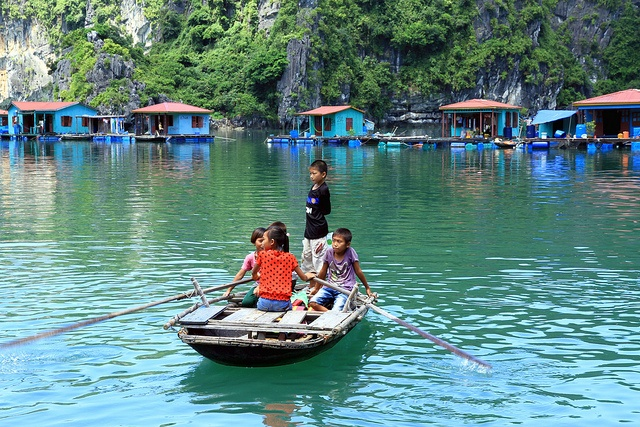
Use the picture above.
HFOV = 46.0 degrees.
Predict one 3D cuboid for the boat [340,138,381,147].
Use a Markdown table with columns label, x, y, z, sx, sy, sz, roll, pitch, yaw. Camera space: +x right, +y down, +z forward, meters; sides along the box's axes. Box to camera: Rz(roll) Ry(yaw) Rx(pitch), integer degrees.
| label | x | y | z | sx | sy | sz | roll | pitch | yaw |
| --- | --- | --- | --- | --- | --- | --- | --- | --- | --- |
| boat | 3.286 | -5.758 | 60.575 | 3.161 | 0.825 | 3.965 | -1 | 4 | -5 |

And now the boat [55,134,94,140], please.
| label | x | y | z | sx | sy | sz | roll | pitch | yaw |
| --- | --- | --- | --- | --- | --- | --- | --- | --- | --- |
| boat | -22.703 | -7.216 | 69.828 | 4.373 | 0.676 | 0.976 | -3 | 3 | -21 |

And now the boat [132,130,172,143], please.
| label | x | y | z | sx | sy | sz | roll | pitch | yaw |
| --- | --- | --- | --- | --- | --- | --- | --- | --- | --- |
| boat | -14.741 | -6.733 | 65.986 | 3.016 | 1.072 | 3.775 | -2 | 4 | -13 |

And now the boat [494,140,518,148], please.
| label | x | y | z | sx | sy | sz | roll | pitch | yaw |
| --- | --- | --- | --- | --- | --- | --- | --- | --- | --- |
| boat | 13.359 | -4.991 | 54.181 | 1.434 | 0.542 | 0.657 | 2 | 5 | 17 |
